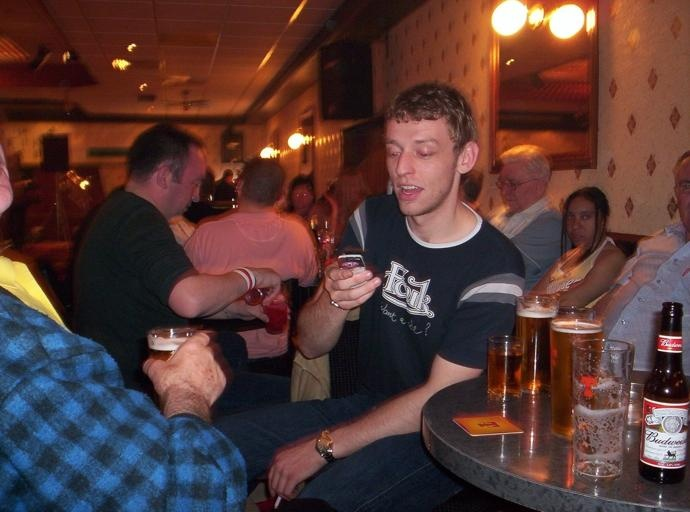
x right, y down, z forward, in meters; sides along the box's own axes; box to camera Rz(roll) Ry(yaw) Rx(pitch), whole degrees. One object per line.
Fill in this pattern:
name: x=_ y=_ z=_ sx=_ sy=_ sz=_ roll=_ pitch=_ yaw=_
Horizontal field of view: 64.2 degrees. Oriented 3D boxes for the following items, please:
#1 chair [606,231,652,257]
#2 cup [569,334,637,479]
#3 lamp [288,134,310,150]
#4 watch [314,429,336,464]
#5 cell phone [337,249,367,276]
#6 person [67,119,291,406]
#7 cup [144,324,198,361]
chair: x=1.620 y=-0.064 z=3.128 sx=0.137 sy=0.160 sz=0.118 roll=-8 pitch=21 yaw=-5
cup: x=0.562 y=0.343 z=1.204 sx=0.110 sy=0.263 sz=0.123 roll=0 pitch=10 yaw=25
lamp: x=-0.910 y=-2.280 z=10.882 sx=0.462 sy=0.344 sz=0.351 roll=-4 pitch=5 yaw=2
watch: x=-0.067 y=0.639 z=1.814 sx=0.065 sy=0.100 sz=0.102 roll=-6 pitch=-12 yaw=-8
cell phone: x=0.027 y=0.026 z=1.934 sx=0.096 sy=0.081 sz=0.033 roll=3 pitch=-11 yaw=-4
person: x=-0.723 y=0.218 z=2.567 sx=0.923 sy=1.501 sz=0.802 roll=0 pitch=8 yaw=-25
cup: x=-0.480 y=0.235 z=1.513 sx=0.103 sy=0.079 sz=0.098 roll=0 pitch=3 yaw=0
